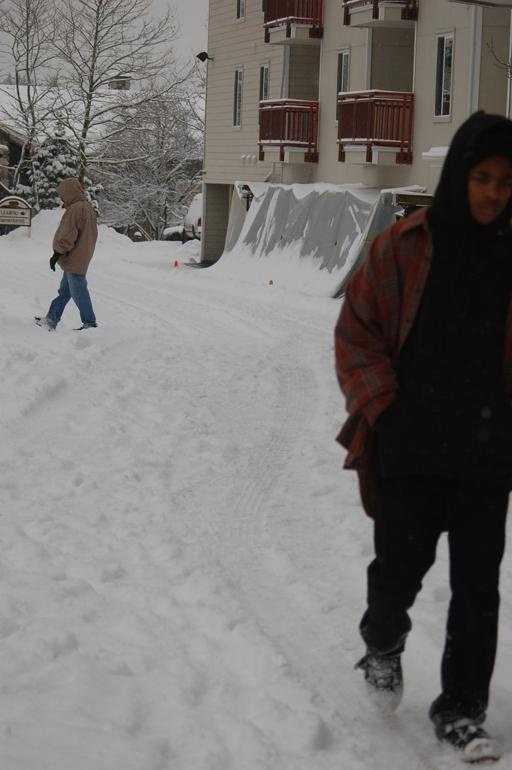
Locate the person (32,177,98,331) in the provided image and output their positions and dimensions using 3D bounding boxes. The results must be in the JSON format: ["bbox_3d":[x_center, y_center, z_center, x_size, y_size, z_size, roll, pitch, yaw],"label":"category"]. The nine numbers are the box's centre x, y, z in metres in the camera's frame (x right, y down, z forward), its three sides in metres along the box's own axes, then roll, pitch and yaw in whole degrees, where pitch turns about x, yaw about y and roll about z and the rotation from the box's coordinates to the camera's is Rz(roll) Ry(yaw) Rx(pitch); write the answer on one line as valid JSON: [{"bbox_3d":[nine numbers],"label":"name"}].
[{"bbox_3d":[-2.859,-2.040,10.111,0.809,2.404,0.768,-2,1,-14],"label":"person"}]

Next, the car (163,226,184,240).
[{"bbox_3d":[-5.995,-10.774,47.037,1.877,1.093,3.310,-3,7,-9],"label":"car"}]

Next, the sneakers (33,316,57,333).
[{"bbox_3d":[-3.168,-0.922,9.903,0.243,0.174,0.085,43,33,-7],"label":"sneakers"}]
